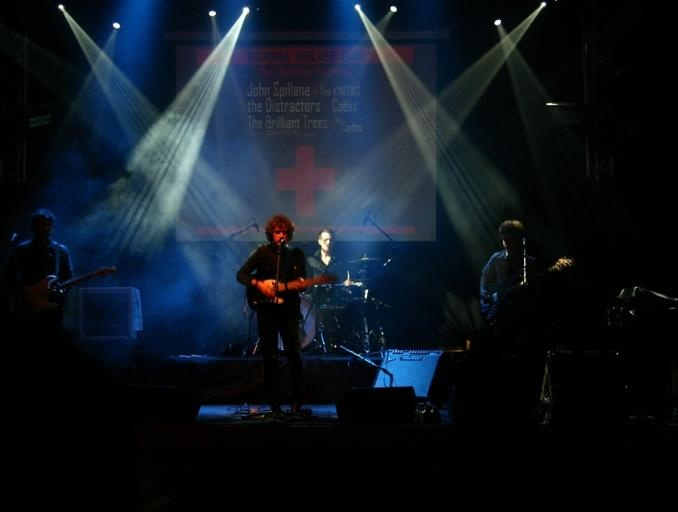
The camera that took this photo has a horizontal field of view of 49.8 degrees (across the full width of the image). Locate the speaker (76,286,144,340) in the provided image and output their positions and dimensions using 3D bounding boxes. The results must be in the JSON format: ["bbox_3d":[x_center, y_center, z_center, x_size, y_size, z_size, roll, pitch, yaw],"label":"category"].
[{"bbox_3d":[-2.612,0.653,8.412,0.854,0.808,0.492,-1,-12,-5],"label":"speaker"}]

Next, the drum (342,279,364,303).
[{"bbox_3d":[0.178,0.431,8.980,0.279,0.290,0.171,-1,-6,-1],"label":"drum"}]

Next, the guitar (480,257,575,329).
[{"bbox_3d":[1.920,0.319,7.571,0.869,0.627,0.244,-14,-15,4],"label":"guitar"}]

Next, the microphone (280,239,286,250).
[{"bbox_3d":[-0.522,-0.126,6.957,0.020,0.075,0.051,-1,-1,36],"label":"microphone"}]

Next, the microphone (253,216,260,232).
[{"bbox_3d":[-1.075,-0.418,9.505,0.034,0.154,0.105,-25,-13,-12],"label":"microphone"}]

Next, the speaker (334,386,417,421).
[{"bbox_3d":[0.363,1.302,6.277,0.473,0.208,0.337,0,-13,3],"label":"speaker"}]
